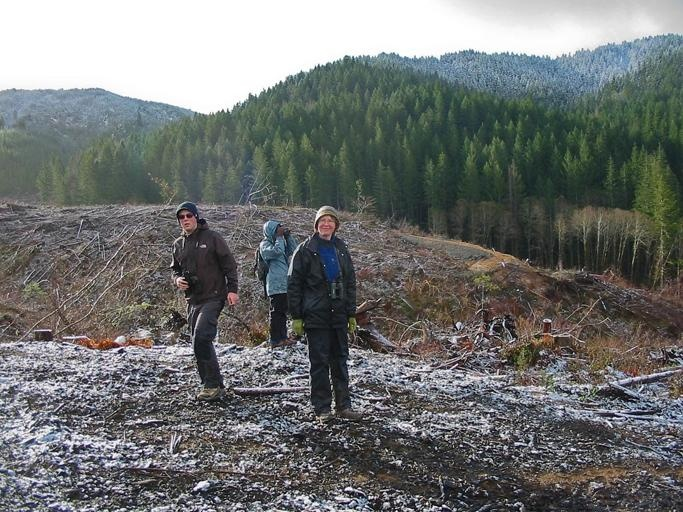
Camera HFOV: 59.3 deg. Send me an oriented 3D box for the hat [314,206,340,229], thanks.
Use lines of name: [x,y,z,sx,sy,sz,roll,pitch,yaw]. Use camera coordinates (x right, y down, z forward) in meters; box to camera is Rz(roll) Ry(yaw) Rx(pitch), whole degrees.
hat: [-0.237,-0.659,9.873,0.331,0.374,0.453,1,-5,0]

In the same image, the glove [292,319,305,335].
glove: [-0.686,1.109,9.624,0.196,0.401,0.278,-1,4,-4]

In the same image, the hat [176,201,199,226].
hat: [-2.630,-0.745,10.242,0.304,0.367,0.450,-14,6,-1]

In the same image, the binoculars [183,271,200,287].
binoculars: [-2.514,0.371,9.991,0.243,0.259,0.080,-25,6,-7]

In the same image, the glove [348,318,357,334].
glove: [0.173,1.111,9.778,0.167,0.215,0.224,-6,0,-5]

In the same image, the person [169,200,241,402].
person: [-2.269,0.687,10.053,0.892,3.058,1.254,-5,15,-31]

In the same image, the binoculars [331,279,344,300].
binoculars: [-0.077,0.534,9.602,0.226,0.466,0.270,-1,-1,11]

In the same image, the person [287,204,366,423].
person: [-0.282,0.881,9.613,1.174,3.232,1.116,5,13,12]
